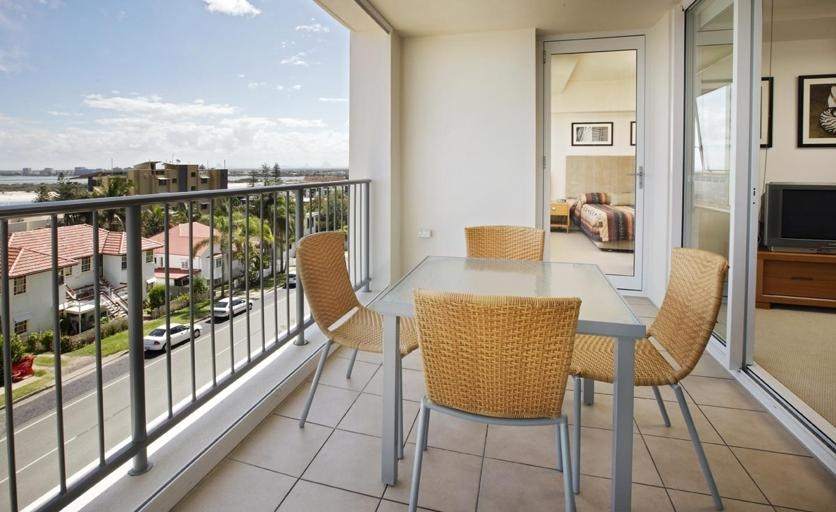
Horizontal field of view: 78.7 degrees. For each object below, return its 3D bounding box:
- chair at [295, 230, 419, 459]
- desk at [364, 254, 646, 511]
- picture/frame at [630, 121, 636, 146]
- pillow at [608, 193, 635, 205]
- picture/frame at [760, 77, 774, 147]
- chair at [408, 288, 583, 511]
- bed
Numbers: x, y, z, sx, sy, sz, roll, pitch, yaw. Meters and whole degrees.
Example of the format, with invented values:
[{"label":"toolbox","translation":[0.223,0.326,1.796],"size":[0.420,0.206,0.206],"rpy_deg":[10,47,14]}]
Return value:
[{"label":"chair","translation":[-0.341,0.560,3.794],"size":[0.925,1.343,0.840],"rpy_deg":[6,15,18]},{"label":"desk","translation":[0.647,0.716,3.752],"size":[1.567,1.242,1.672],"rpy_deg":[0,7,8]},{"label":"picture/frame","translation":[2.549,-1.435,5.968],"size":[0.083,0.272,0.030],"rpy_deg":[3,11,23]},{"label":"pillow","translation":[2.454,-0.677,6.068],"size":[0.275,0.154,0.036],"rpy_deg":[3,11,21]},{"label":"picture/frame","translation":[4.272,-1.746,6.210],"size":[0.081,0.841,0.468],"rpy_deg":[-3,12,21]},{"label":"chair","translation":[0.510,0.759,3.543],"size":[1.184,1.717,1.237],"rpy_deg":[1,10,8]},{"label":"bed","translation":[2.224,-0.649,5.743],"size":[0.882,0.786,1.225],"rpy_deg":[-1,20,8]}]
